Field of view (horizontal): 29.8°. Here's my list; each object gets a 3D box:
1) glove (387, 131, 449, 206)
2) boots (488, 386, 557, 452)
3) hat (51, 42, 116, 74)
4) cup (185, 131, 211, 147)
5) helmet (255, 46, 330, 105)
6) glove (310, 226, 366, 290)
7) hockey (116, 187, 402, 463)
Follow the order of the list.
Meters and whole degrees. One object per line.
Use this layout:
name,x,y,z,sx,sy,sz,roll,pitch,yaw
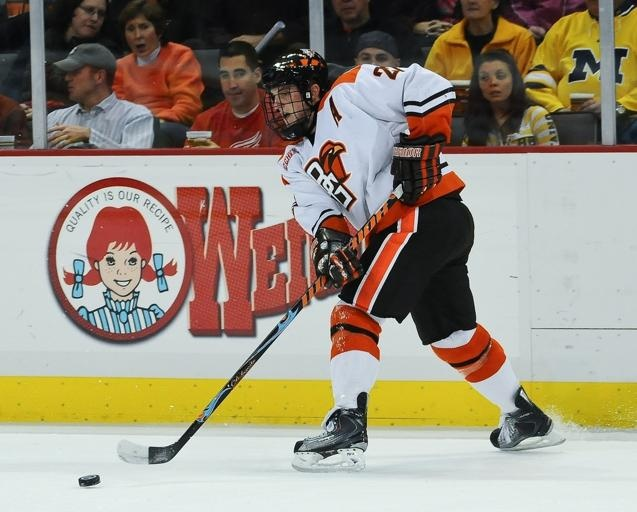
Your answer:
glove,0.398,-0.344,4.721,0.235,0.295,0.226,3,11,-8
boots,0.787,0.689,4.914,0.352,0.236,0.124,-11,-15,-27
hat,-1.102,-0.927,5.590,0.227,0.106,0.146,3,3,-10
cup,-0.570,-0.555,5.575,0.129,0.078,0.072,0,-9,1
helmet,-0.081,-0.758,4.850,0.276,0.208,0.210,-9,19,-24
glove,0.068,0.003,4.678,0.185,0.223,0.207,0,7,-1
hockey,-0.225,0.330,5.195,0.159,1.359,0.180,41,3,-31
